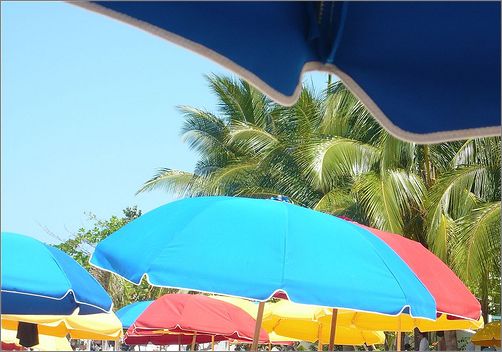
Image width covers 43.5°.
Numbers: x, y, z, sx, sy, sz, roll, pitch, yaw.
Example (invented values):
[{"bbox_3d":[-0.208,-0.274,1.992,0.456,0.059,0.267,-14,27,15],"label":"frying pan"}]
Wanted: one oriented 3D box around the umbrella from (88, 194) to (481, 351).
[{"bbox_3d":[0.554,0.933,7.438,4.402,1.412,1.263,11,-25,-17],"label":"umbrella"}]
